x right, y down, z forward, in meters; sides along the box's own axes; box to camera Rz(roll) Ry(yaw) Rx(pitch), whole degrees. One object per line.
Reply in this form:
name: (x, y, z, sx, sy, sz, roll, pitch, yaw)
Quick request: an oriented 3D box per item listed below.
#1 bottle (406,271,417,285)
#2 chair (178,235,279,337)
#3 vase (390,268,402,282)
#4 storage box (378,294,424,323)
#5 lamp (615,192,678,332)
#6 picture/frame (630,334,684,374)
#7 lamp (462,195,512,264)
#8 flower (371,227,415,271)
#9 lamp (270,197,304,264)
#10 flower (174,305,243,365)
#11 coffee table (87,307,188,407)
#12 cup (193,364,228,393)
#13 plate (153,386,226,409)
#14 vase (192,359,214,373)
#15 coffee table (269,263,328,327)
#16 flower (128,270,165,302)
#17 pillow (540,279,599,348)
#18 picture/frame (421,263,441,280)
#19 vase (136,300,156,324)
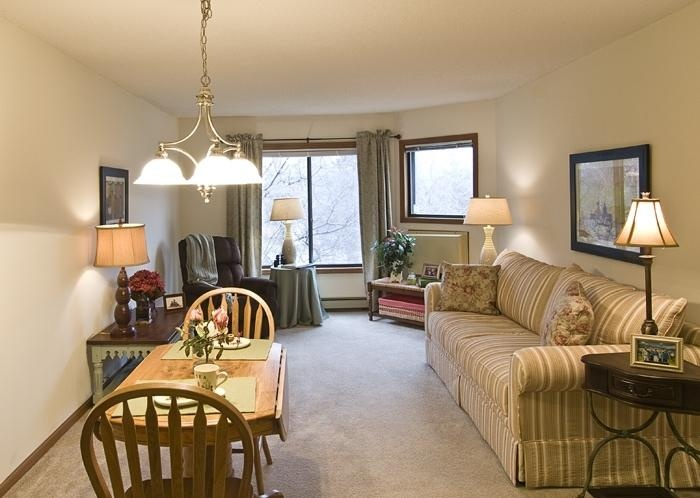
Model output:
bottle: (0.833, 0.391, 6.849, 0.139, 0.147, 0.140, 3, -3, -3)
chair: (-1.491, 0.490, 6.475, 0.953, 1.252, 1.075, -3, 6, -41)
vase: (0.623, 0.346, 6.960, 0.178, 0.187, 0.137, 0, -3, 3)
storage box: (0.743, 0.784, 6.854, 0.728, 0.281, 0.277, 7, 13, 40)
lamp: (1.969, 0.055, 3.448, 0.323, 0.864, 0.828, 6, 12, 32)
picture/frame: (1.782, 0.618, 3.019, 0.191, 0.146, 0.015, 2, -9, 21)
lamp: (1.635, -0.183, 6.135, 0.595, 0.825, 0.608, 1, -2, -35)
flower: (0.627, 0.017, 7.134, 0.548, 0.572, 0.548, 4, -6, -40)
lamp: (-0.833, -0.255, 7.036, 0.424, 0.892, 0.621, -3, 11, -8)
flower: (-0.821, 0.502, 2.933, 0.312, 0.331, 0.296, 6, 13, 33)
coffee table: (-1.961, 0.781, 4.755, 0.730, 0.659, 1.484, -1, 5, -4)
cup: (-0.722, 0.706, 2.718, 0.180, 0.129, 0.119, -1, -32, -27)
plate: (-0.817, 0.771, 2.625, 0.276, 0.044, 0.175, 1, -3, -11)
vase: (-0.801, 0.639, 2.867, 0.133, 0.058, 0.084, 4, -5, -11)
coffee table: (-0.743, 0.616, 7.131, 0.797, 0.779, 0.807, -9, 13, -37)
flower: (-1.872, 0.321, 4.801, 0.270, 0.287, 0.272, -2, 3, -34)
pillow: (1.584, 0.469, 3.635, 0.309, 0.609, 0.197, 3, -38, 38)
picture/frame: (1.081, 0.300, 6.840, 0.205, 0.201, 0.022, 4, -21, 31)
vase: (-1.928, 0.587, 4.983, 0.176, 0.241, 0.336, 0, -1, -2)
